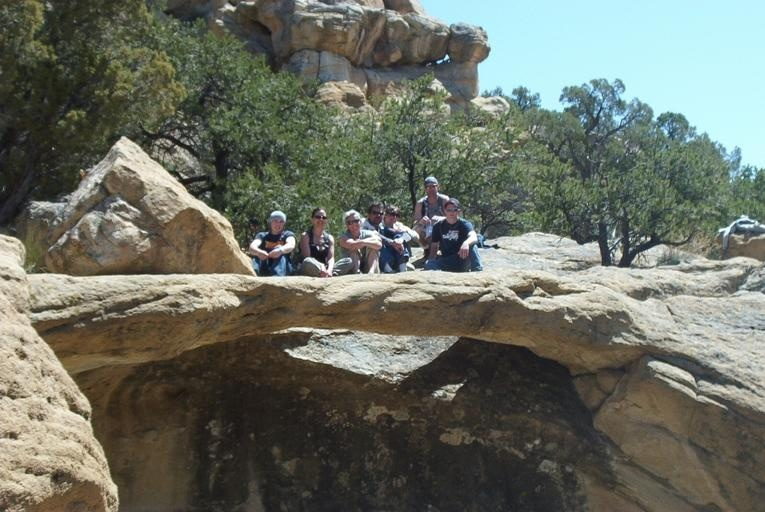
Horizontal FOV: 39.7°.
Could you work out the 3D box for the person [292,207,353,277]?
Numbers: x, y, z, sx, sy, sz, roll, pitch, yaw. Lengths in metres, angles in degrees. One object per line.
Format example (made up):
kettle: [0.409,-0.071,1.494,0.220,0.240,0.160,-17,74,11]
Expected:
person: [-1.157,-0.225,21.280,0.902,1.609,1.094,-3,-2,-1]

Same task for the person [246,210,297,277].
person: [-2.181,-0.105,21.138,0.723,1.795,1.194,1,-19,2]

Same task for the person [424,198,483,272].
person: [1.430,-0.422,21.334,1.031,1.541,1.078,-1,4,7]

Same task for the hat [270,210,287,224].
hat: [-2.057,-0.819,21.165,0.301,0.280,0.326,13,-9,-14]

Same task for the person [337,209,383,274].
person: [-0.461,-0.139,21.715,0.644,1.664,1.049,-2,-14,-26]

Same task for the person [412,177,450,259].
person: [1.051,-0.749,22.678,0.667,1.891,0.941,0,-7,-1]

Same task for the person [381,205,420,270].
person: [0.252,-0.293,22.193,0.888,1.527,1.245,0,-7,-11]
